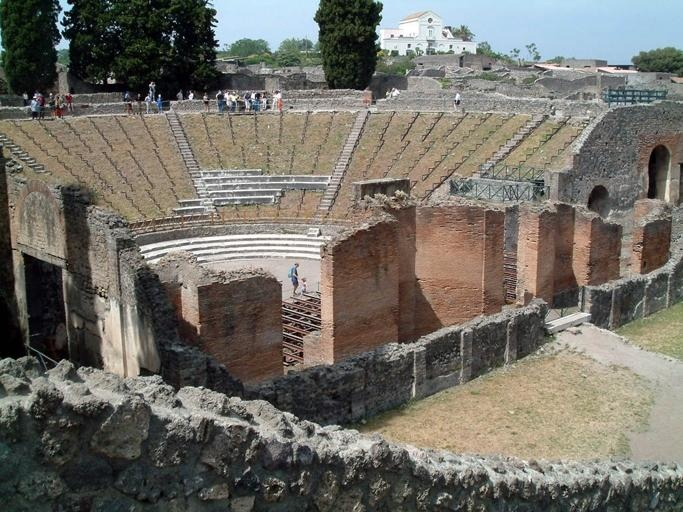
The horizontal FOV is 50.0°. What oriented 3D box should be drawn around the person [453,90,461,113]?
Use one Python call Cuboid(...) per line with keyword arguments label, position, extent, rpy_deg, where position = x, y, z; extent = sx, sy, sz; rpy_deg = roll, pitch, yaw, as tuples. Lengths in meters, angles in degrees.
Cuboid(label="person", position=(5.827, -7.729, 36.615), extent=(0.426, 0.857, 0.725), rpy_deg=(13, 6, 1))
